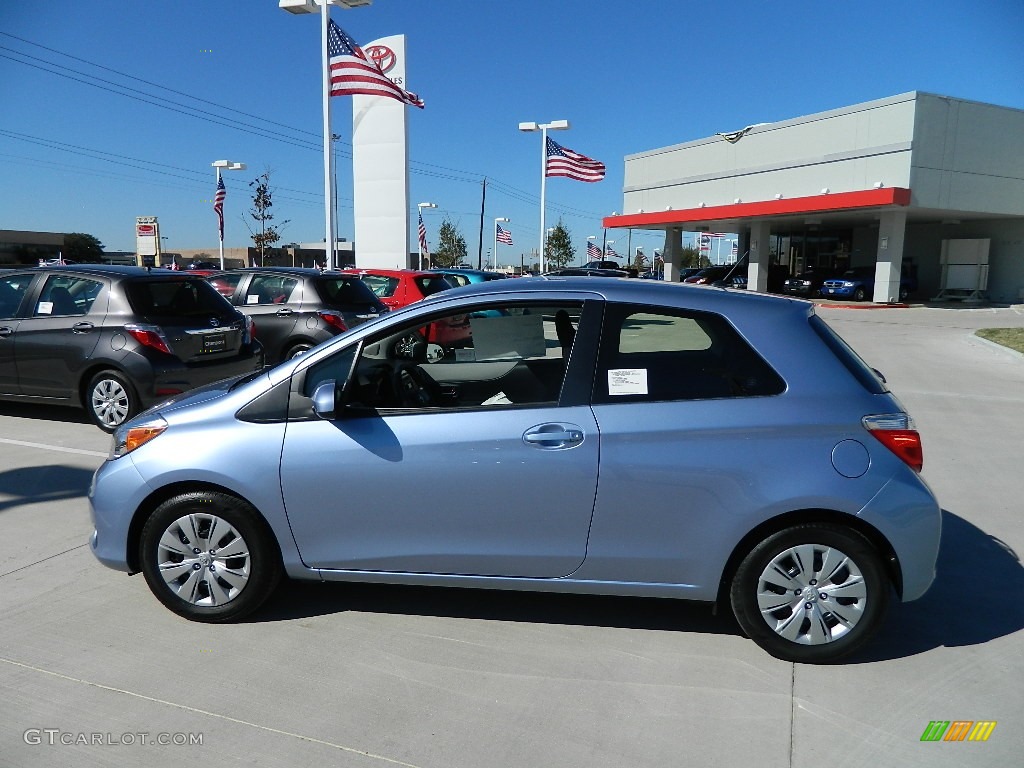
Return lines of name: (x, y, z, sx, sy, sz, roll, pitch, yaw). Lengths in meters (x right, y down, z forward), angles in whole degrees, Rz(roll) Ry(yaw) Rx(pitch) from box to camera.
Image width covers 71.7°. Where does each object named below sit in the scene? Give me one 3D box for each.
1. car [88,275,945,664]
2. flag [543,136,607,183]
car: (-0.126, 0.393, 4.665, 4.712, 1.598, 2.215, 2, 2, 6)
flag: (2.474, -9.294, 29.321, 2.553, 1.623, 1.373, 6, 15, 19)
